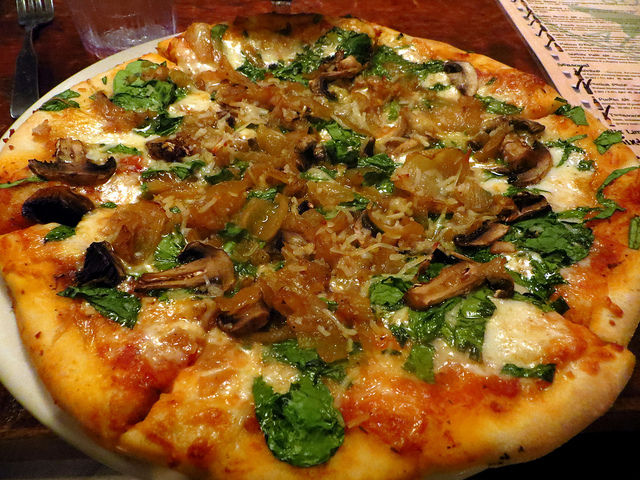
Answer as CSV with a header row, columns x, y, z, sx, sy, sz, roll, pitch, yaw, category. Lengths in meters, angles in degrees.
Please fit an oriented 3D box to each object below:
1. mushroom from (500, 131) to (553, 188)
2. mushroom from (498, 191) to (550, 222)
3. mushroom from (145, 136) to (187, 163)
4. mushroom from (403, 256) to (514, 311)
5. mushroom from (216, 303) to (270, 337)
x,y,z,sx,sy,sz,roll,pitch,yaw,category
1.623,-0.622,4.915,0.417,0.107,0.422,-26,65,-10,mushroom
1.536,-0.242,4.635,0.421,0.076,0.172,-18,57,-13,mushroom
-1.190,-0.683,4.829,0.216,0.078,0.270,-34,50,-31,mushroom
0.958,0.293,4.256,0.616,0.129,0.385,-28,40,-14,mushroom
-0.504,0.536,4.124,0.340,0.096,0.252,-18,47,-13,mushroom
